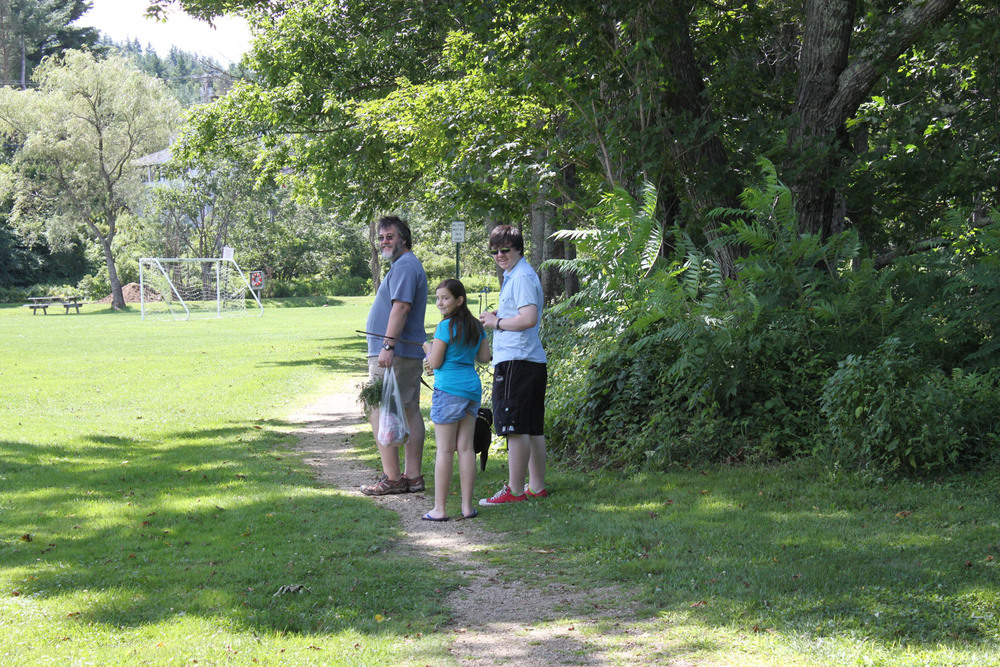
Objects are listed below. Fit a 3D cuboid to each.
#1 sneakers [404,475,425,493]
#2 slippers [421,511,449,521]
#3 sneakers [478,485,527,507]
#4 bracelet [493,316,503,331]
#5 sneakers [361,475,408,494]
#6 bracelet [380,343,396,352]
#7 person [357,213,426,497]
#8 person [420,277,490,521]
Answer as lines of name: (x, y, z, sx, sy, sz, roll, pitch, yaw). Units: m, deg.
sneakers: (-1.117, 1.926, 13.886, 0.201, 0.230, 0.499, 0, 0, -5)
slippers: (-0.790, 2.159, 12.754, 0.224, 0.094, 0.124, 6, -4, 12)
sneakers: (0.020, 1.999, 13.376, 0.645, 0.261, 0.225, 3, -6, -3)
bracelet: (-0.028, -0.136, 12.882, 0.104, 0.121, 0.121, 1, -10, 2)
sneakers: (-1.491, 1.916, 13.881, 0.598, 0.275, 0.240, 2, -3, -5)
bracelet: (-1.387, 0.157, 13.498, 0.125, 0.085, 0.118, 5, 0, -19)
person: (-1.327, 0.278, 13.714, 0.754, 3.534, 0.476, 1, 0, -7)
person: (-0.529, 0.763, 13.019, 0.789, 2.872, 0.656, 1, 0, -1)
